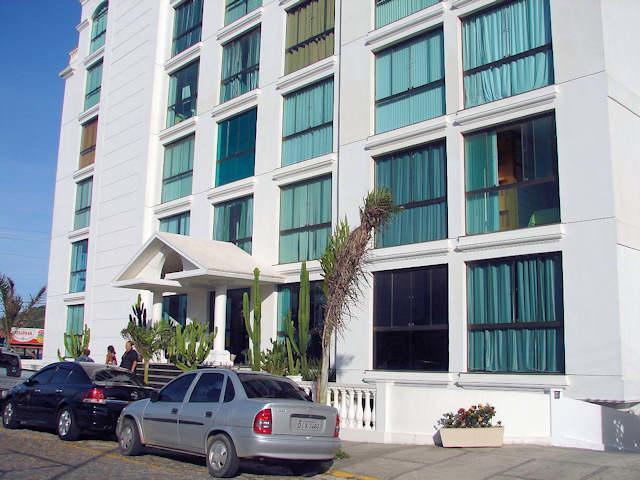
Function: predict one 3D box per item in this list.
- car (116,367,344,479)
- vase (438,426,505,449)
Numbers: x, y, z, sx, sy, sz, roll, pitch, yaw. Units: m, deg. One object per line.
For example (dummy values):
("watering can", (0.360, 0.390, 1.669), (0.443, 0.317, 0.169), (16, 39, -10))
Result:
("car", (-1.832, 3.510, 11.172), (4.061, 1.933, 1.410), (-8, -18, 30))
("vase", (3.338, 4.372, 12.872), (0.870, 0.309, 0.552), (0, -8, 4))
